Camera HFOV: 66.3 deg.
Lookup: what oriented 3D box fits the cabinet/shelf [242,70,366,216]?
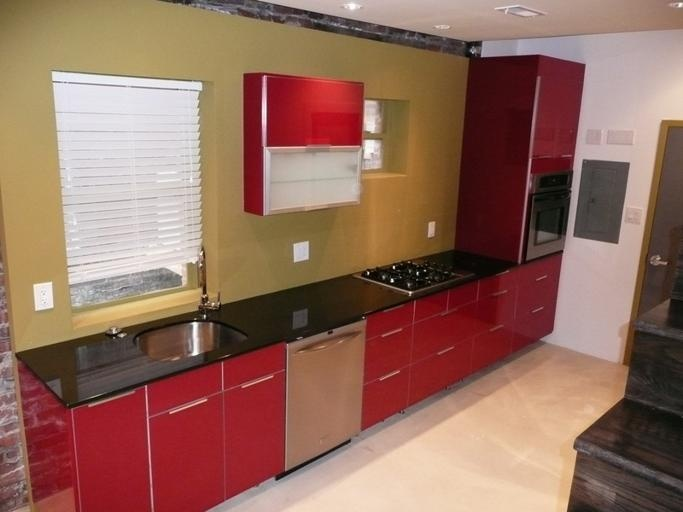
[{"bbox_3d":[-0.275,-0.746,3.432,0.927,0.880,0.297,-11,17,-42],"label":"cabinet/shelf"}]

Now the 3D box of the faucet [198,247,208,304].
[{"bbox_3d":[-0.897,0.113,3.366,0.056,0.368,0.172,-7,19,-15],"label":"faucet"}]

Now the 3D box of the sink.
[{"bbox_3d":[-0.963,0.477,3.189,0.412,0.150,0.312,-9,17,-44],"label":"sink"}]
